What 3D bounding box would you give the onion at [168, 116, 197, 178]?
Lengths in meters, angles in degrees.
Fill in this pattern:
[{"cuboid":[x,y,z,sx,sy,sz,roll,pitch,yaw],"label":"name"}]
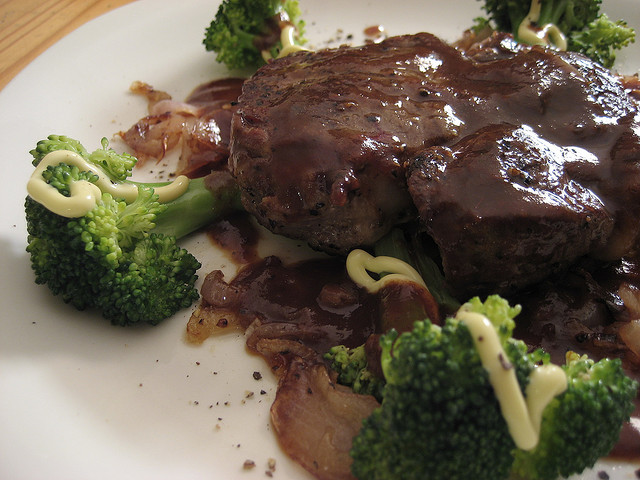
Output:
[{"cuboid":[-1.111,-0.763,5.356,0.161,0.142,0.552,9,84,6],"label":"onion"}]
